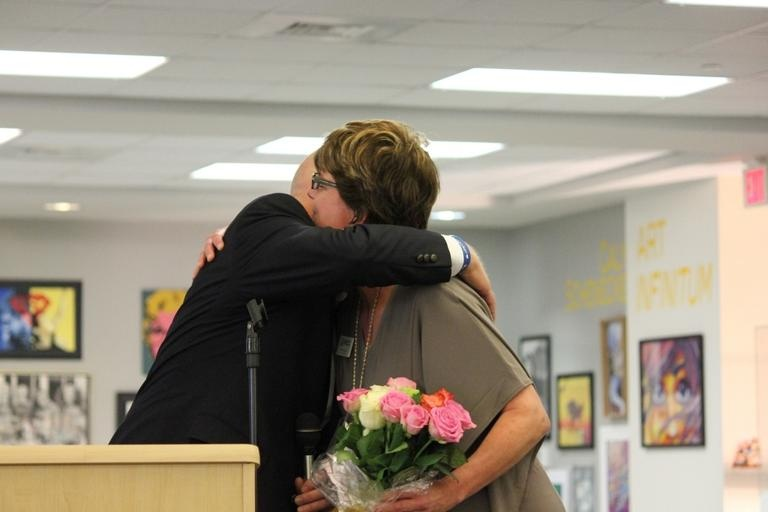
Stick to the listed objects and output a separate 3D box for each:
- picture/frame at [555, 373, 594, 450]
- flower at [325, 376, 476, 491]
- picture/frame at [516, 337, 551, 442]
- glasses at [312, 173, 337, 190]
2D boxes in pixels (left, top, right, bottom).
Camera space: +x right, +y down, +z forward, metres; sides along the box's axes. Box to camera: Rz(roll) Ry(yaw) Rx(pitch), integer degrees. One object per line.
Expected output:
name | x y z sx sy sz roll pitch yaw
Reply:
picture/frame | 1.760 1.430 9.849 0.056 0.896 0.635 3 -6 -26
flower | 0.059 0.702 4.071 0.461 0.497 0.459 13 13 9
picture/frame | 1.460 1.268 10.393 0.361 1.078 0.031 -3 21 3
glasses | -0.234 -0.284 4.266 0.072 0.024 0.061 12 -7 -25
